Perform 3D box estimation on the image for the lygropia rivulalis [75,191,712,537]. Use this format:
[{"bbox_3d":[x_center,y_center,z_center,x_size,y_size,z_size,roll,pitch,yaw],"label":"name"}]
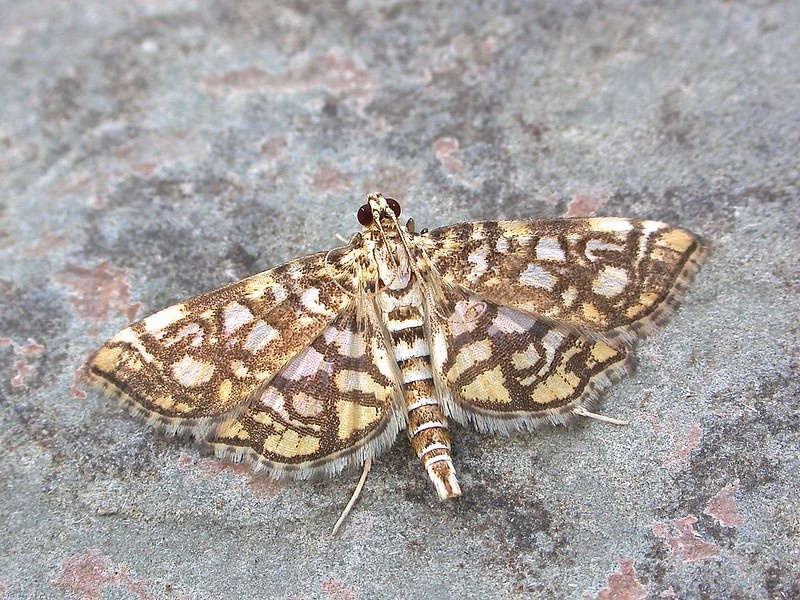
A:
[{"bbox_3d":[0.029,0.250,5.458,3.406,0.445,1.435,-13,80,-2],"label":"lygropia rivulalis"}]
